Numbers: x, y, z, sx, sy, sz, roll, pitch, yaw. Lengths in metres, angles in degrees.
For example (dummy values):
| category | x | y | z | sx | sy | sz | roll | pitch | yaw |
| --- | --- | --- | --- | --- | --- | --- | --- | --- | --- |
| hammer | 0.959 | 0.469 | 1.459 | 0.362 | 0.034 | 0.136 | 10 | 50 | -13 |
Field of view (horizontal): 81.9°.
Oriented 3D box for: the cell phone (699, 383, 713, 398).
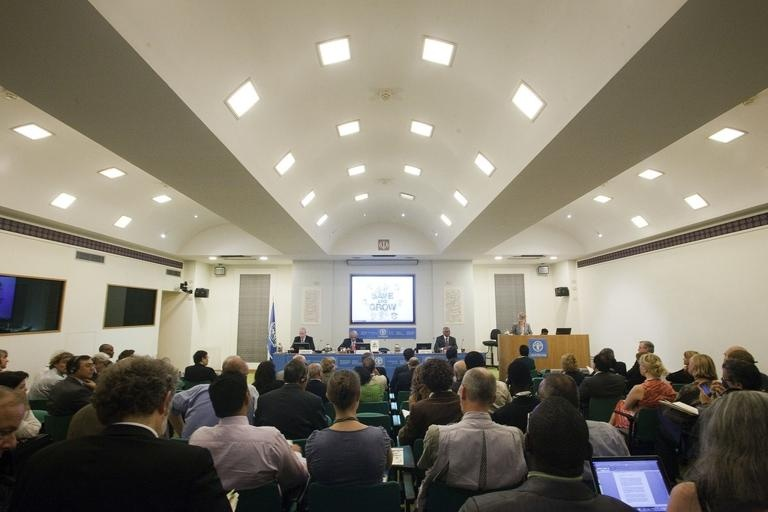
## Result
| category | x | y | z | sx | sy | sz | roll | pitch | yaw |
| --- | --- | --- | --- | --- | --- | --- | --- | --- | --- |
| cell phone | 3.848 | 1.628 | 5.318 | 0.127 | 0.056 | 0.184 | 2 | 24 | 12 |

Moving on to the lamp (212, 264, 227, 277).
| category | x | y | z | sx | sy | sz | roll | pitch | yaw |
| --- | --- | --- | --- | --- | --- | --- | --- | --- | --- |
| lamp | -5.475 | 0.483 | 14.906 | 0.376 | 0.370 | 0.381 | -4 | -3 | -5 |

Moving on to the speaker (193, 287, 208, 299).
| category | x | y | z | sx | sy | sz | roll | pitch | yaw |
| --- | --- | --- | --- | --- | --- | --- | --- | --- | --- |
| speaker | -5.728 | 1.174 | 13.940 | 0.304 | 0.289 | 0.407 | -3 | -3 | 15 |

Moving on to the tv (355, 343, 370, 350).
| category | x | y | z | sx | sy | sz | roll | pitch | yaw |
| --- | --- | --- | --- | --- | --- | --- | --- | --- | --- |
| tv | -0.557 | 2.454 | 11.929 | 0.292 | 0.206 | 0.277 | 3 | -9 | -3 |

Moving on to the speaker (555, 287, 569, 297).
| category | x | y | z | sx | sy | sz | roll | pitch | yaw |
| --- | --- | --- | --- | --- | --- | --- | --- | --- | --- |
| speaker | 5.699 | 1.136 | 14.255 | 0.269 | 0.310 | 0.383 | -1 | -3 | 0 |

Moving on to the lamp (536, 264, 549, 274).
| category | x | y | z | sx | sy | sz | roll | pitch | yaw |
| --- | --- | --- | --- | --- | --- | --- | --- | --- | --- |
| lamp | 5.394 | 0.438 | 15.144 | 0.370 | 0.356 | 0.461 | -3 | -13 | 25 |

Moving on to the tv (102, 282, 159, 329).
| category | x | y | z | sx | sy | sz | roll | pitch | yaw |
| --- | --- | --- | --- | --- | --- | --- | --- | --- | --- |
| tv | -6.508 | 1.306 | 11.392 | 1.725 | 1.052 | 0.039 | 0 | -7 | 18 |
